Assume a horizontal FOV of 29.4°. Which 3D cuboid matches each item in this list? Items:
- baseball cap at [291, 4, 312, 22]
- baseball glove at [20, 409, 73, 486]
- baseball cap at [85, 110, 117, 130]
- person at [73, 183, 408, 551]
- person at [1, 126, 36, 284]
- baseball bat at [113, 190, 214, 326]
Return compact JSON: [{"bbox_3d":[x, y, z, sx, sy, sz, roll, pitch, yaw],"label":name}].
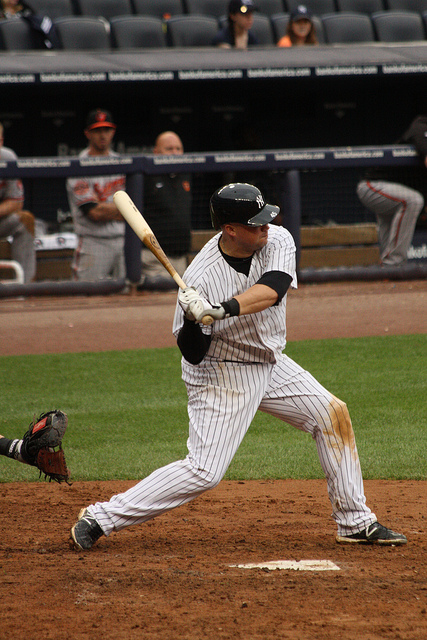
[{"bbox_3d":[0.742,-2.604,6.920,0.165,0.187,0.231,0,1,5],"label":"baseball cap"},{"bbox_3d":[-0.623,0.476,3.078,0.193,0.289,0.212,0,2,14],"label":"baseball glove"},{"bbox_3d":[-0.807,-1.443,5.820,0.186,0.183,0.249,0,1,6],"label":"baseball cap"},{"bbox_3d":[0.040,0.165,2.759,0.911,1.243,0.666,-1,2,-37],"label":"person"},{"bbox_3d":[-1.305,-0.606,5.457,0.228,0.714,0.151,-1,2,-20],"label":"person"},{"bbox_3d":[-0.340,-0.364,4.800,0.158,0.149,1.298,-24,60,-24],"label":"baseball bat"}]
